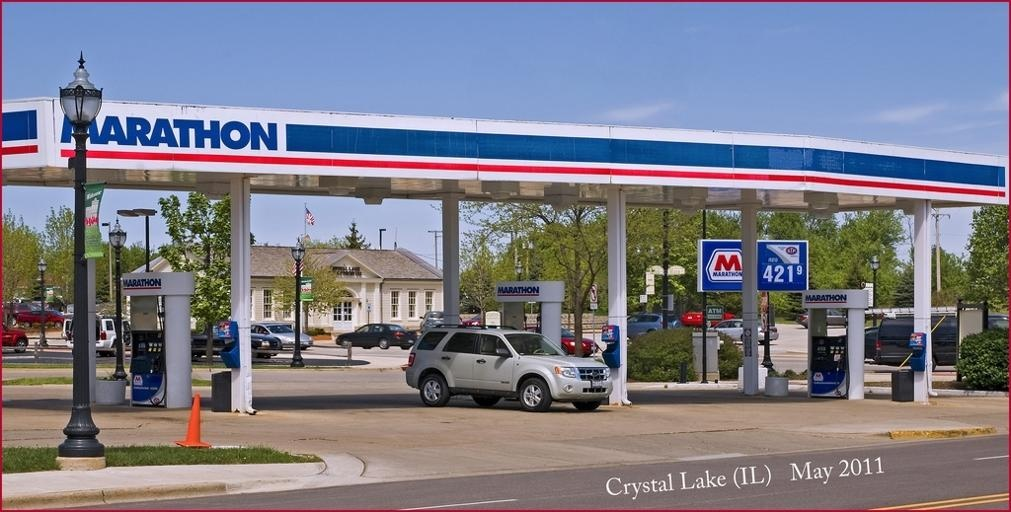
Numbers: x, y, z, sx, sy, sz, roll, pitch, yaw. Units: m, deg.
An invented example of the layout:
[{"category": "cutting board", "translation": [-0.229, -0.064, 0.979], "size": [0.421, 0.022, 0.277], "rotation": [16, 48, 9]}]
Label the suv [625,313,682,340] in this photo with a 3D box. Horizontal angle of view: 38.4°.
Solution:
[{"category": "suv", "translation": [10.890, 4.781, 99.260], "size": [4.840, 1.534, 2.018], "rotation": [0, -3, 1]}]

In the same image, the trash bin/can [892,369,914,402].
[{"category": "trash bin/can", "translation": [17.455, 5.739, 63.912], "size": [0.886, 1.336, 0.373], "rotation": [-1, -5, 7]}]

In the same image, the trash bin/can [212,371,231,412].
[{"category": "trash bin/can", "translation": [-11.490, 5.521, 59.028], "size": [0.840, 1.594, 0.370], "rotation": [0, -5, 2]}]
